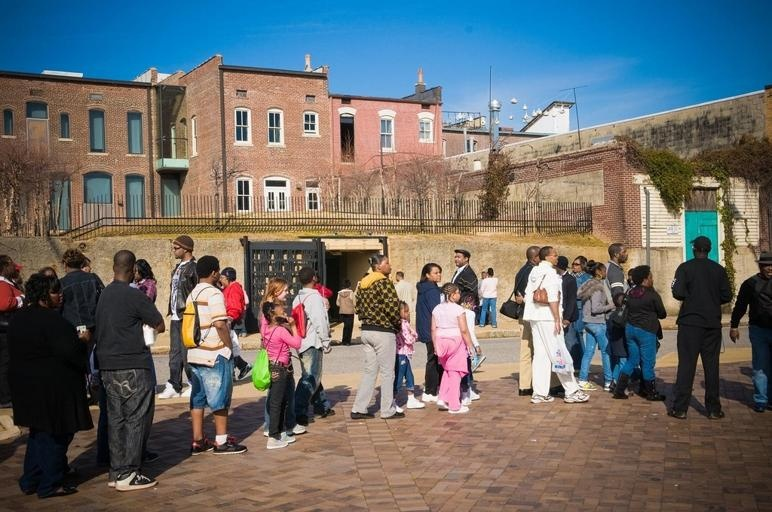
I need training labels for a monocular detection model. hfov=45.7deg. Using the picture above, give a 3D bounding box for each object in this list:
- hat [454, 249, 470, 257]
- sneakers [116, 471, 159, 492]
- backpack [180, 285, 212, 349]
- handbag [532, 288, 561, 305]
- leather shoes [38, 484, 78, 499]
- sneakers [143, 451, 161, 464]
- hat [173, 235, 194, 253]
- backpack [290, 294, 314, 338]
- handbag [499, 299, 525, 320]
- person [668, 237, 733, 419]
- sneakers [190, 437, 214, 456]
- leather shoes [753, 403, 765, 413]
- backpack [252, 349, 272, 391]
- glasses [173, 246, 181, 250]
[{"bbox_3d":[1.636,-0.075,19.934,0.248,0.083,0.179,0,-5,30],"label":"hat"},{"bbox_3d":[-4.184,3.766,15.357,0.682,0.293,0.187,-4,12,-16],"label":"sneakers"},{"bbox_3d":[-3.379,1.096,16.139,0.463,1.039,0.387,1,11,8],"label":"backpack"},{"bbox_3d":[3.189,0.788,18.206,0.332,0.312,0.126,1,-4,-11],"label":"handbag"},{"bbox_3d":[-5.446,3.863,15.293,0.650,0.253,0.214,-4,8,-22],"label":"leather shoes"},{"bbox_3d":[-4.159,3.516,16.294,0.248,0.196,0.361,-1,11,0],"label":"sneakers"},{"bbox_3d":[-3.974,-0.289,18.030,0.281,0.285,0.372,34,15,34],"label":"hat"},{"bbox_3d":[-1.627,1.225,17.269,0.244,0.678,0.581,1,12,12],"label":"backpack"},{"bbox_3d":[2.637,1.123,19.303,0.477,0.455,0.349,14,-1,-13],"label":"handbag"},{"bbox_3d":[6.018,1.381,17.630,1.064,3.356,1.363,3,12,20],"label":"person"},{"bbox_3d":[-3.354,3.427,16.481,0.201,0.223,0.529,3,4,36],"label":"sneakers"},{"bbox_3d":[7.219,2.927,17.713,0.229,0.165,0.163,4,12,22],"label":"leather shoes"},{"bbox_3d":[-2.250,2.094,16.560,0.325,0.791,0.511,-3,11,-8],"label":"backpack"},{"bbox_3d":[-4.135,-0.169,18.174,0.101,0.030,0.095,12,1,-36],"label":"glasses"}]
